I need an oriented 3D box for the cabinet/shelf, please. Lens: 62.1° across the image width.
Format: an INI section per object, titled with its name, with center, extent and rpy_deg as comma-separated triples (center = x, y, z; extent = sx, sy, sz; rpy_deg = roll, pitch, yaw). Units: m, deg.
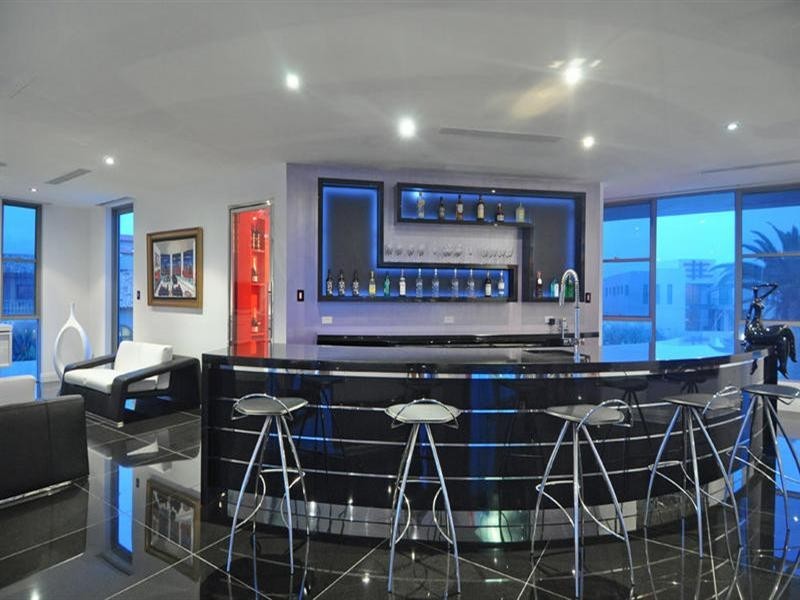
[cabinet/shelf]
center = 0.688, -0.674, 8.307
extent = 3.343, 1.611, 0.390
rpy_deg = 1, -10, -7
